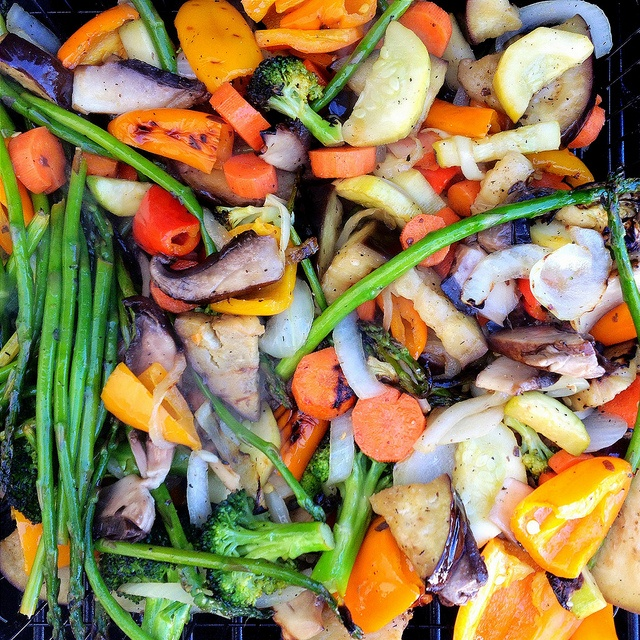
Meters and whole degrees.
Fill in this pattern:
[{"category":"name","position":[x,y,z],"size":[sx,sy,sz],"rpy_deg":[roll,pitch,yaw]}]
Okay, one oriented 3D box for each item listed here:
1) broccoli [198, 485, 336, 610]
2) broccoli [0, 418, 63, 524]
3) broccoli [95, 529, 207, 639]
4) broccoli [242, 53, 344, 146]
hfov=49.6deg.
[{"category":"broccoli","position":[-0.138,0.594,1.758],"size":[0.347,0.291,0.139],"rpy_deg":[-8,-52,14]},{"category":"broccoli","position":[-0.714,0.367,1.697],"size":[0.059,0.234,0.174],"rpy_deg":[-9,-11,43]},{"category":"broccoli","position":[-0.468,0.637,1.757],"size":[0.198,0.090,0.255],"rpy_deg":[-5,-55,1]},{"category":"broccoli","position":[-0.070,-0.555,1.770],"size":[0.160,0.117,0.257],"rpy_deg":[-41,-74,8]}]
